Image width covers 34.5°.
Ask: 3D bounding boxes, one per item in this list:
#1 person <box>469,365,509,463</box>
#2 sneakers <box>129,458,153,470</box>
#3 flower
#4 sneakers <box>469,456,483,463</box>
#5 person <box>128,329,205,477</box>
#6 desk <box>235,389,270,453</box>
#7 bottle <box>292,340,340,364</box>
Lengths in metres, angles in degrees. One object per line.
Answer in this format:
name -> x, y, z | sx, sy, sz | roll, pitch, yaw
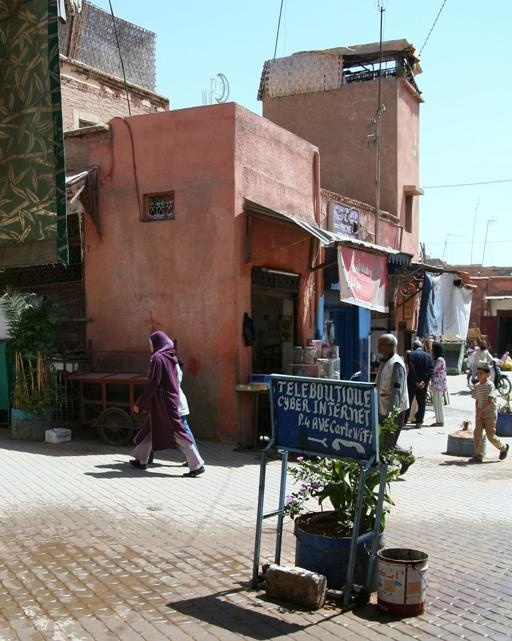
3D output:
person -> 3.053, 1.205, 10.875 | 0.443, 1.306, 0.687 | 1, -2, 26
sneakers -> -1.287, 1.593, 9.211 | 0.256, 0.133, 0.106 | 18, -15, -1
flower -> 0.650, 1.074, 5.939 | 0.836, 0.963, 0.818 | -1, 3, 6
sneakers -> 2.851, 1.800, 10.756 | 0.159, 0.086, 0.077 | 3, -2, -10
person -> -0.963, 0.900, 9.080 | 0.809, 1.566, 0.625 | 2, -2, -11
desk -> -0.077, 1.246, 10.884 | 0.423, 0.881, 0.596 | 1, -2, 11
bottle -> 0.864, 0.474, 12.564 | 0.353, 0.257, 0.565 | 0, -3, 25
